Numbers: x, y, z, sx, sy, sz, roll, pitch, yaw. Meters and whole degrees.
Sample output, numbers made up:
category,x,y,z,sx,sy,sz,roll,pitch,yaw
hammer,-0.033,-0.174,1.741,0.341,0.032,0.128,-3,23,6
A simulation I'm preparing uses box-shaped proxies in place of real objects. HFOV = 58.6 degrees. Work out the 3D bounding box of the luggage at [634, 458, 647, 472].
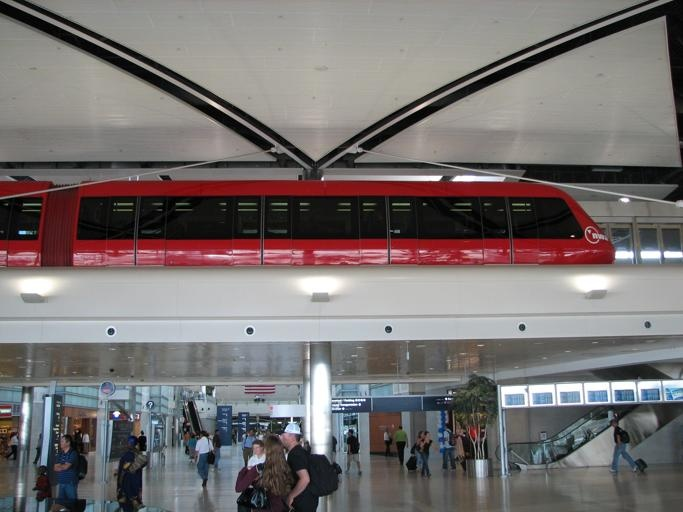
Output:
category,x,y,z,sx,sy,sz,roll,pitch,yaw
luggage,10.625,7.397,21.614,0.293,0.513,1.025,-10,-15,26

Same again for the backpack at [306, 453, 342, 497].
category,x,y,z,sx,sy,sz,roll,pitch,yaw
backpack,-0.269,3.207,8.968,0.452,0.575,0.239,0,-15,-10

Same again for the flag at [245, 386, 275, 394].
category,x,y,z,sx,sy,sz,roll,pitch,yaw
flag,-3.959,6.508,29.952,1.345,0.417,1.775,-1,-13,-3

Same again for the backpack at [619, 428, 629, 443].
category,x,y,z,sx,sy,sz,roll,pitch,yaw
backpack,10.087,6.426,21.733,0.247,0.453,0.719,-11,-16,27

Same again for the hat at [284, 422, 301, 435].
category,x,y,z,sx,sy,sz,roll,pitch,yaw
hat,-0.783,2.586,9.176,0.275,0.124,0.173,-1,-14,31
